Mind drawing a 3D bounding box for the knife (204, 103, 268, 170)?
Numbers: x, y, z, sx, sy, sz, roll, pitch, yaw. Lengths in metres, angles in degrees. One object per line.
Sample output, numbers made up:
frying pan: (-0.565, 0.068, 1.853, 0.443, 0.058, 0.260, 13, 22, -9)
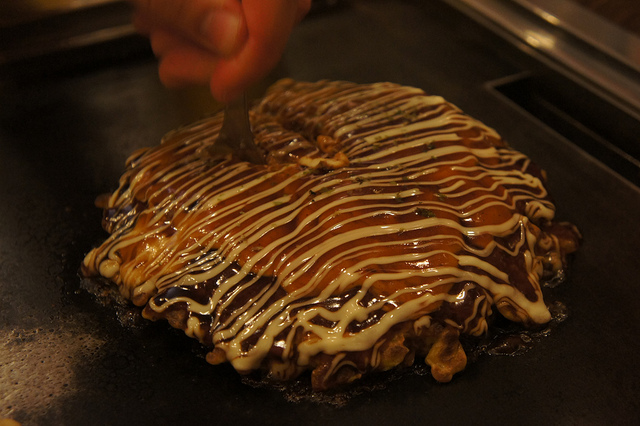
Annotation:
knife: (-0.429, -0.369, 3.381, 0.195, 0.402, 0.052, 1, 9, 19)
